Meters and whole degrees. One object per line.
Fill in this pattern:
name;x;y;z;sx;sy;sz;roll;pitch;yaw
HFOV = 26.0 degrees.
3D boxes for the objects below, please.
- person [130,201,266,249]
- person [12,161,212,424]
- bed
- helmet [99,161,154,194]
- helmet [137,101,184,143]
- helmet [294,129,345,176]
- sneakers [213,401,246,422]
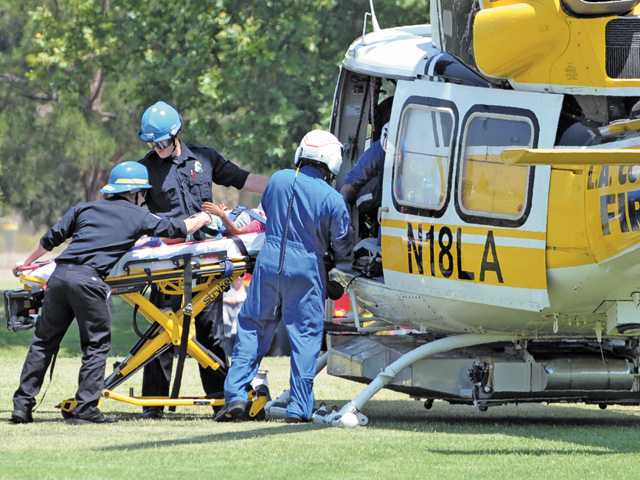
person;-1.205;-0.167;14.042;1.196;0.522;0.527;-8;4;-11
person;-2.223;0.498;13.648;1.637;2.546;0.549;1;2;-9
bed;-2.147;0.727;13.824;3.040;1.753;1.391;1;-4;-3
helmet;-1.975;-0.647;13.859;0.577;0.281;0.439;-4;13;-27
helmet;-1.667;-1.199;13.966;0.448;0.273;0.528;7;23;24
helmet;-0.005;-0.889;13.743;0.418;0.413;0.481;14;15;14
sneakers;-0.851;1.631;13.282;0.177;0.214;0.462;20;-20;-23
